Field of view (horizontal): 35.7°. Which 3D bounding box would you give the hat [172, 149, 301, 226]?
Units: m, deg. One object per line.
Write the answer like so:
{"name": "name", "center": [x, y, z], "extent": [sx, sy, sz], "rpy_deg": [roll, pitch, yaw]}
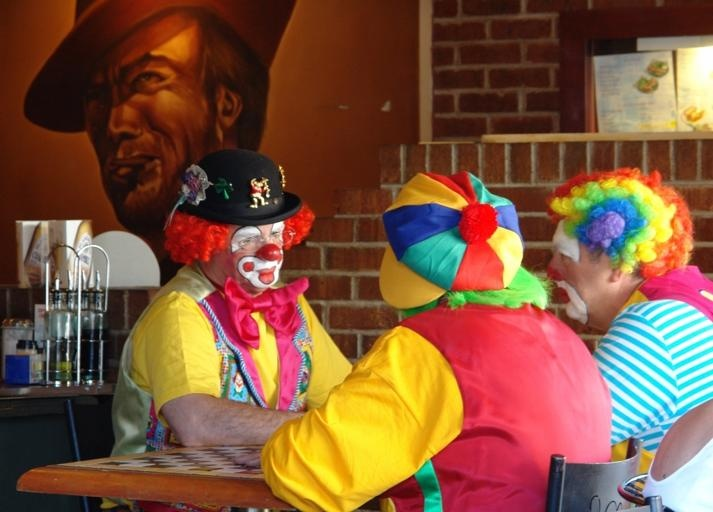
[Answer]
{"name": "hat", "center": [-0.429, -0.274, 4.242], "extent": [0.446, 0.241, 0.534], "rpy_deg": [-6, 9, -28]}
